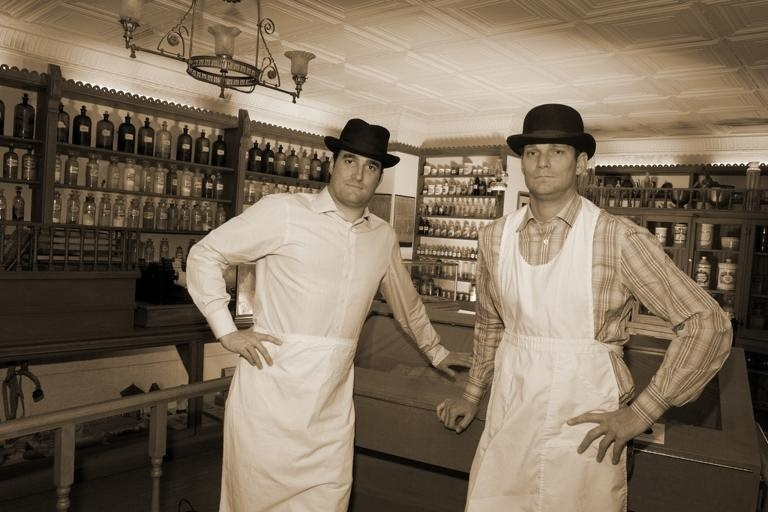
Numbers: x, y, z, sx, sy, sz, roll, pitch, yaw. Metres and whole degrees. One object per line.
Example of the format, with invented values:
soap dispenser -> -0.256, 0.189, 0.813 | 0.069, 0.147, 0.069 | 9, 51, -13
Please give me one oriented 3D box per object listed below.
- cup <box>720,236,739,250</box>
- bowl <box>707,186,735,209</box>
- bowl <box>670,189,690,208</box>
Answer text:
cup -> 4.208, -0.154, 6.860 | 0.142, 0.109, 0.149 | 3, -5, 0
bowl -> 4.228, -0.726, 7.108 | 0.239, 0.219, 0.271 | 4, -3, -14
bowl -> 3.847, -0.745, 7.402 | 0.210, 0.245, 0.220 | 4, 0, 0
